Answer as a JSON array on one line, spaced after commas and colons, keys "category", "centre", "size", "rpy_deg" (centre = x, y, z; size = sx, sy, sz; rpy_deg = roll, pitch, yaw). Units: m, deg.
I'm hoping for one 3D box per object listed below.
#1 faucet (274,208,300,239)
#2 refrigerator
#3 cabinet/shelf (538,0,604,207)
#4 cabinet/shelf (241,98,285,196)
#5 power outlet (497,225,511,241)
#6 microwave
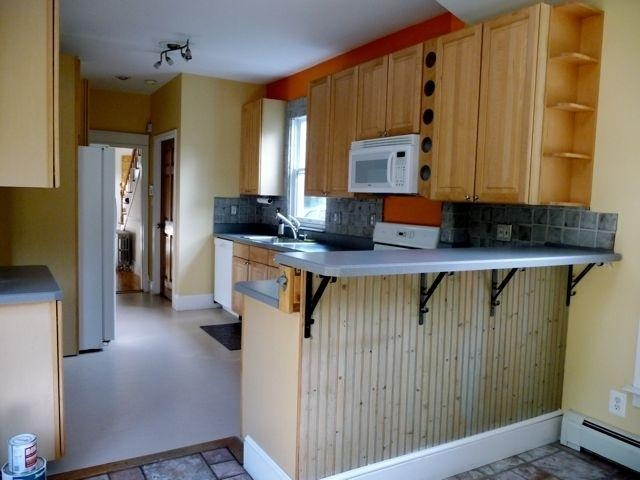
[{"category": "faucet", "centre": [-0.369, -0.176, 5.779], "size": [0.156, 0.286, 0.473], "rpy_deg": [9, -4, 38]}, {"category": "refrigerator", "centre": [-2.075, 0.090, 4.695], "size": [0.352, 1.876, 0.215], "rpy_deg": [-3, 10, -27]}, {"category": "cabinet/shelf", "centre": [1.604, -0.861, 3.254], "size": [0.423, 1.266, 0.227], "rpy_deg": [-4, 10, -33]}, {"category": "cabinet/shelf", "centre": [-0.760, -1.120, 6.180], "size": [0.639, 1.141, 0.327], "rpy_deg": [8, 11, 35]}, {"category": "power outlet", "centre": [1.356, -0.056, 3.730], "size": [0.016, 0.103, 0.105], "rpy_deg": [-1, 5, -29]}, {"category": "microwave", "centre": [0.495, -0.615, 4.096], "size": [0.399, 0.534, 0.735], "rpy_deg": [0, 2, -31]}]
